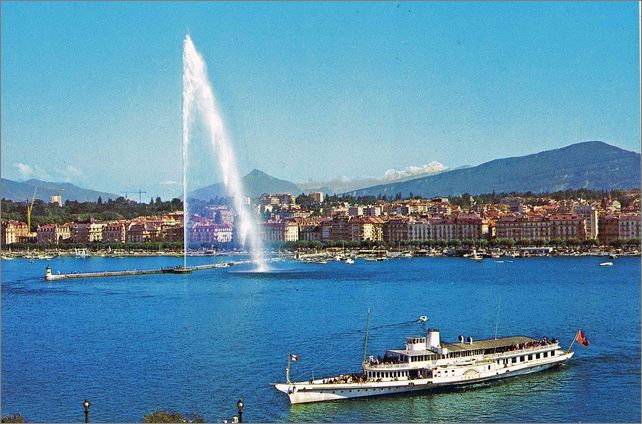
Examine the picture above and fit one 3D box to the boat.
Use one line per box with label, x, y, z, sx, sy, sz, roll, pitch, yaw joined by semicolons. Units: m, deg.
boat;6.315;9.609;61.542;12.087;2.579;2.766;-6;5;-16
